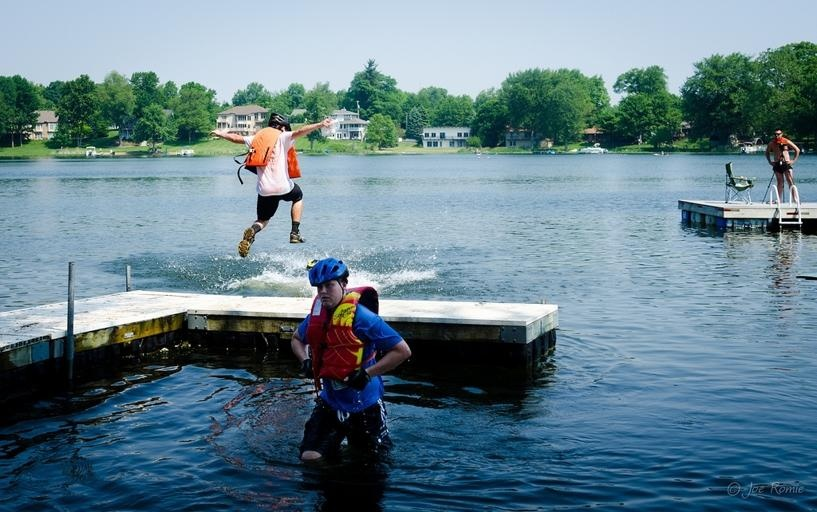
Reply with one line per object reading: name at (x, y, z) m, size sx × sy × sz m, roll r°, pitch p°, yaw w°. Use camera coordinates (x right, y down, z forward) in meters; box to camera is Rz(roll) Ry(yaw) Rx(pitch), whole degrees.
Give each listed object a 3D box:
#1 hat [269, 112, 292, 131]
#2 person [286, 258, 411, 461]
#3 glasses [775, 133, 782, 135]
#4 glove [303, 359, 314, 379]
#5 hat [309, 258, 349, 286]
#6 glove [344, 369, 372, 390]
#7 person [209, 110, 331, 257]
hat at (-2.907, -3.006, 20.962) m, size 0.467 × 0.429 × 1.210 m, roll -2°, pitch 5°, yaw -8°
person at (-1.010, 1.723, 14.966) m, size 1.663 × 3.412 × 1.009 m, roll -2°, pitch 6°, yaw -6°
glasses at (13.507, -4.477, 34.149) m, size 0.213 × 0.114 × 0.208 m, roll 7°, pitch 17°, yaw 41°
glove at (-1.597, 1.776, 14.847) m, size 0.138 × 0.339 × 0.272 m, roll -2°, pitch 6°, yaw -4°
hat at (-1.230, 0.237, 14.799) m, size 0.501 × 0.217 × 0.594 m, roll -4°, pitch 1°, yaw 25°
glove at (-0.795, 1.917, 14.611) m, size 0.378 × 0.359 × 0.204 m, roll -1°, pitch 6°, yaw -2°
person at (-3.067, -1.756, 20.686) m, size 1.449 × 2.862 × 1.456 m, roll -4°, pitch 7°, yaw -25°
